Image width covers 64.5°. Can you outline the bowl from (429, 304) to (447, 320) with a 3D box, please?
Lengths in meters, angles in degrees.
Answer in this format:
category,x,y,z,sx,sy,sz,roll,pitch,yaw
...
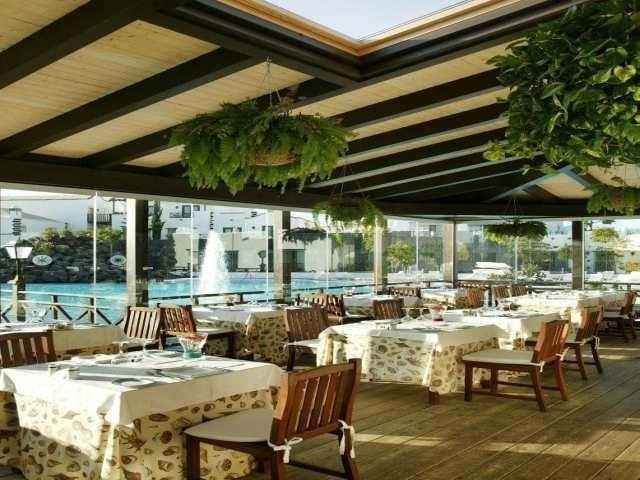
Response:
category,x,y,z,sx,sy,sz,roll,pitch,yaw
bowl,1.391,0.867,6.082,0.259,0.157,0.208,-2,-4,25

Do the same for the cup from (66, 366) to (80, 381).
category,x,y,z,sx,sy,sz,roll,pitch,yaw
cup,-1.578,0.852,3.226,0.101,0.055,0.078,0,1,-11

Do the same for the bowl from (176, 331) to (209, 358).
category,x,y,z,sx,sy,sz,roll,pitch,yaw
bowl,-0.981,0.804,3.895,0.173,0.179,0.238,-2,-2,-9

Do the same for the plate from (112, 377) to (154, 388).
category,x,y,z,sx,sy,sz,roll,pitch,yaw
plate,-1.160,0.885,3.147,0.295,0.010,0.201,-1,-2,9
